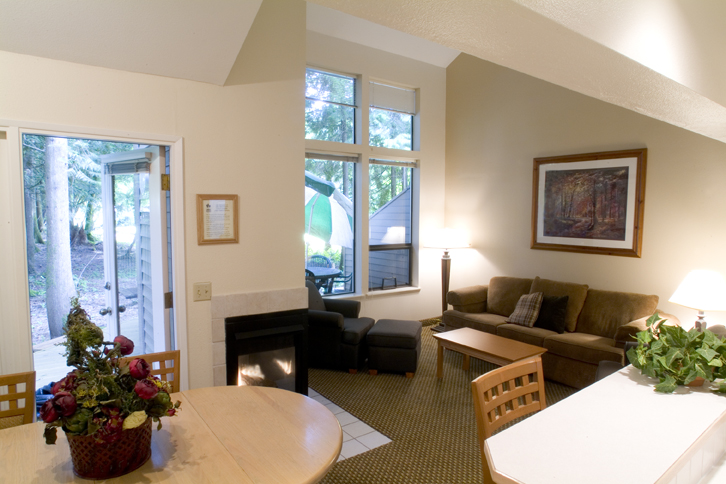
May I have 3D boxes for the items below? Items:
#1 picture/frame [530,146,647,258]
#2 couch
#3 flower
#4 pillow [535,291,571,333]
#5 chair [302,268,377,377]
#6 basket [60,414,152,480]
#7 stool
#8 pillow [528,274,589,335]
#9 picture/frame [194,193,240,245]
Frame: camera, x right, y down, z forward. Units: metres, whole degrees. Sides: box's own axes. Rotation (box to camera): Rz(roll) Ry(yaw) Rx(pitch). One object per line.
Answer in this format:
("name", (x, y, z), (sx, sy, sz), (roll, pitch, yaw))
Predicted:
("picture/frame", (2.629, -0.464, 5.694), (0.095, 1.234, 1.307), (-1, 3, -42))
("couch", (2.027, 0.956, 5.706), (0.949, 0.967, 2.279), (-5, 7, -37))
("flower", (-1.299, 0.684, 2.491), (0.559, 0.740, 0.536), (-20, 6, -23))
("pillow", (2.127, 0.792, 5.504), (0.229, 0.391, 0.445), (-15, 3, -25))
("chair", (-0.362, 0.901, 5.711), (0.894, 0.916, 0.762), (3, 7, 12))
("basket", (-1.241, 0.947, 2.414), (0.313, 0.222, 0.303), (-1, 4, 7))
("stool", (0.378, 1.154, 5.623), (0.544, 0.451, 0.731), (1, 6, 14))
("pillow", (2.271, 0.739, 5.812), (0.341, 0.636, 0.756), (-3, -3, -28))
("picture/frame", (-1.119, -0.173, 3.810), (0.324, 0.380, 0.015), (-4, 10, -36))
